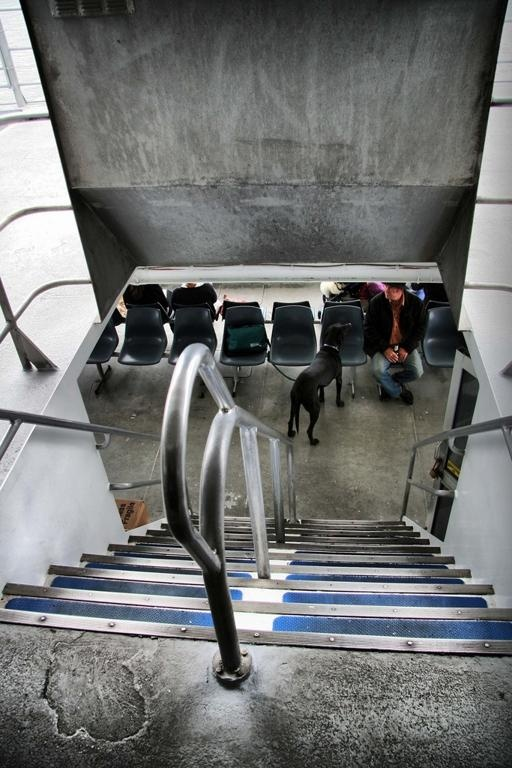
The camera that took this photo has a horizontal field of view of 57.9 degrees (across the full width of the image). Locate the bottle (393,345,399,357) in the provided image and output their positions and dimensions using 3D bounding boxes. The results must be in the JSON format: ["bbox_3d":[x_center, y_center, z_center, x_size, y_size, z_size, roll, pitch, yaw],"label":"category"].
[{"bbox_3d":[1.508,-0.362,4.992,0.027,0.111,0.078,2,1,-4],"label":"bottle"}]

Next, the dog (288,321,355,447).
[{"bbox_3d":[0.645,0.003,4.884,0.374,1.003,0.862,16,39,26],"label":"dog"}]

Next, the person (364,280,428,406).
[{"bbox_3d":[1.469,-0.495,4.912,0.666,1.237,0.398,7,36,15],"label":"person"}]

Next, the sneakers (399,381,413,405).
[{"bbox_3d":[1.692,0.116,5.240,0.086,0.253,0.106,-26,-11,25],"label":"sneakers"}]

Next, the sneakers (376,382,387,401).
[{"bbox_3d":[1.454,0.092,5.377,0.073,0.102,0.240,-13,34,6],"label":"sneakers"}]
